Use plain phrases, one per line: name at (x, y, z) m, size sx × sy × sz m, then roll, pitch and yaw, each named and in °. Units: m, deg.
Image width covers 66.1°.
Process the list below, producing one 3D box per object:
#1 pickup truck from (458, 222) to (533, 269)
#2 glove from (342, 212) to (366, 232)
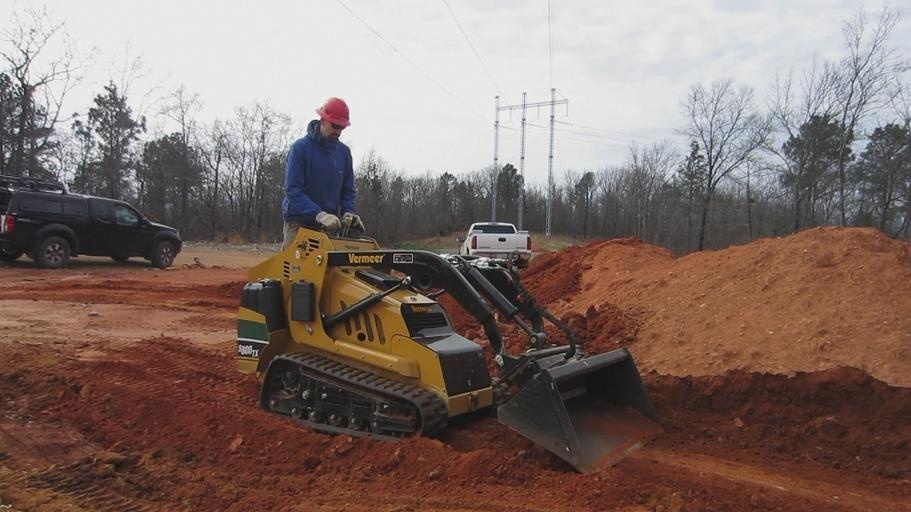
pickup truck at (1.238, -0.488, 25.546) m, size 1.461 × 1.038 × 2.689 m, roll 0°, pitch 6°, yaw -9°
glove at (-2.066, -0.731, 14.640) m, size 0.347 × 0.209 × 0.477 m, roll 22°, pitch -14°, yaw 30°
